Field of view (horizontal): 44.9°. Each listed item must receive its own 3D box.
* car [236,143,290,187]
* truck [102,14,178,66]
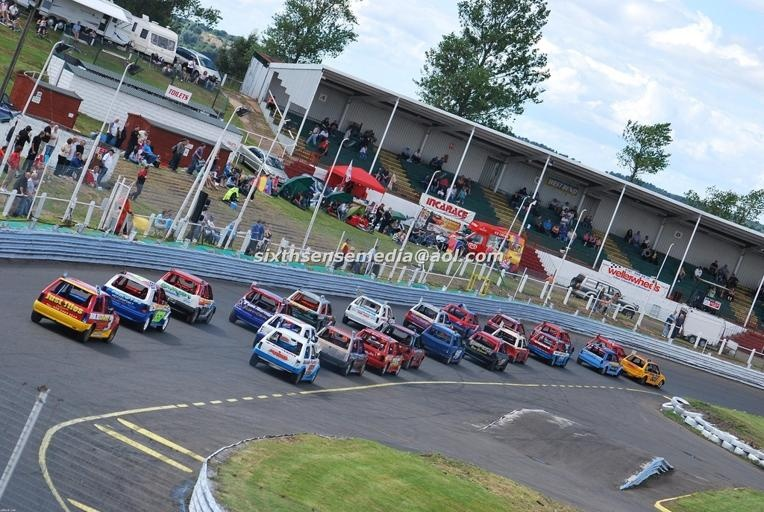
[{"bbox_3d":[-7.381,-5.924,59.062,3.882,1.295,1.839,35,11,32],"label":"car"},{"bbox_3d":[-17.455,-15.910,68.302,5.752,2.398,2.413,17,35,-40],"label":"truck"}]
